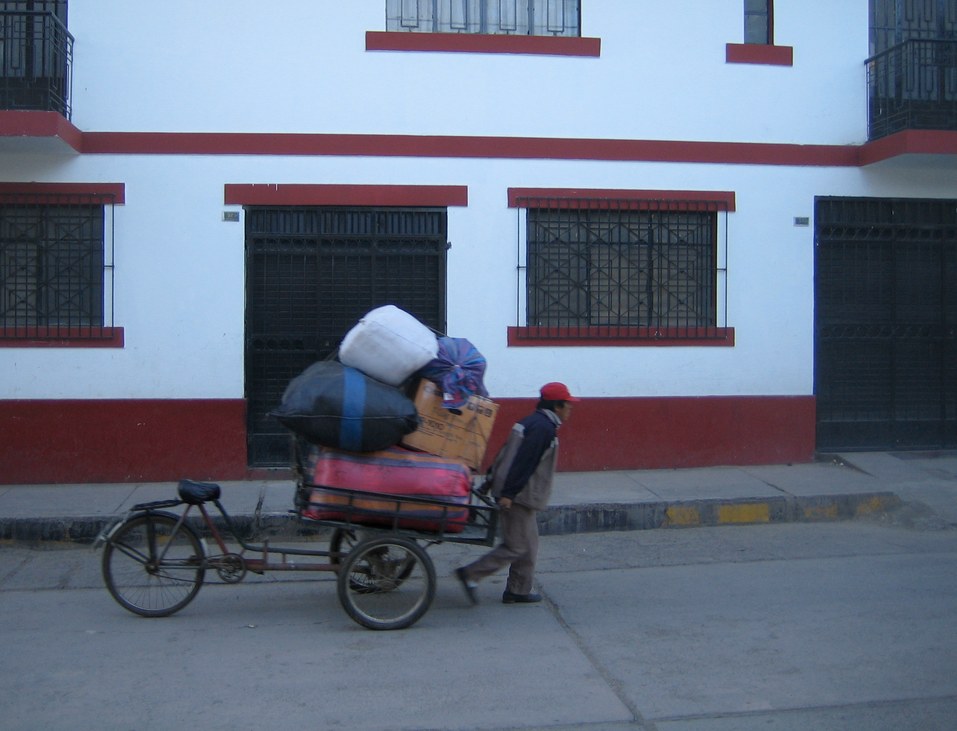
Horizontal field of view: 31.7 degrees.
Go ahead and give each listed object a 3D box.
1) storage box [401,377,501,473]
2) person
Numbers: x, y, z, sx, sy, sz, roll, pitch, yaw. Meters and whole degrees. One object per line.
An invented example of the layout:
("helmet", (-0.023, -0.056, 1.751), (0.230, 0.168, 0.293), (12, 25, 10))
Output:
("storage box", (-0.250, 0.607, 16.373), (0.834, 0.704, 0.869), (18, -1, -3))
("person", (0.393, 1.274, 16.774), (0.878, 2.321, 1.124), (7, 2, 24))
